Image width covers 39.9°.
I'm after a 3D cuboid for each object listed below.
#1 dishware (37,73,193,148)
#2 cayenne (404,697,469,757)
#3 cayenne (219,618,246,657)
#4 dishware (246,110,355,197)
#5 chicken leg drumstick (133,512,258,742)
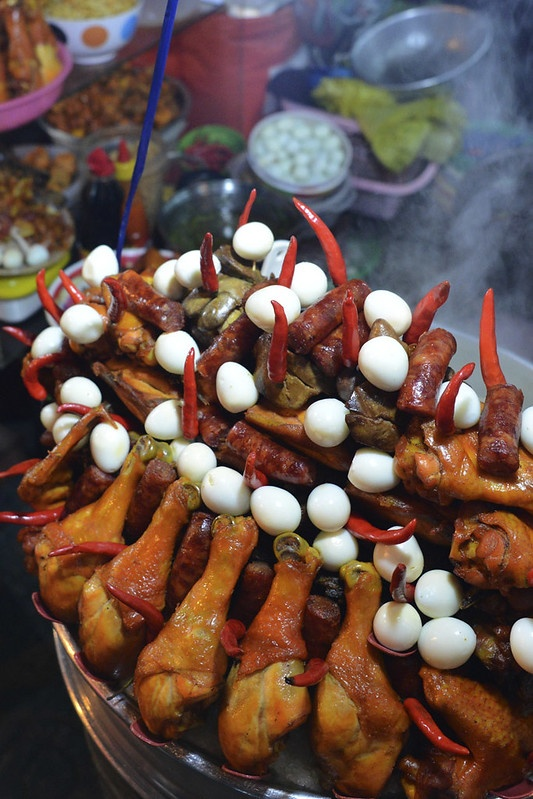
[{"bbox_3d":[-0.420,-0.804,2.098,0.391,0.099,0.347,3,59,-7],"label":"dishware"},{"bbox_3d":[0.262,0.518,1.131,0.031,0.115,0.065,-43,20,5],"label":"cayenne"},{"bbox_3d":[-0.054,0.370,1.149,0.035,0.018,0.058,28,34,-23],"label":"cayenne"},{"bbox_3d":[0.084,-0.637,1.904,0.260,0.241,0.092,12,35,26],"label":"dishware"},{"bbox_3d":[-0.101,0.366,1.238,0.159,0.108,0.374,15,74,29],"label":"chicken leg drumstick"}]
